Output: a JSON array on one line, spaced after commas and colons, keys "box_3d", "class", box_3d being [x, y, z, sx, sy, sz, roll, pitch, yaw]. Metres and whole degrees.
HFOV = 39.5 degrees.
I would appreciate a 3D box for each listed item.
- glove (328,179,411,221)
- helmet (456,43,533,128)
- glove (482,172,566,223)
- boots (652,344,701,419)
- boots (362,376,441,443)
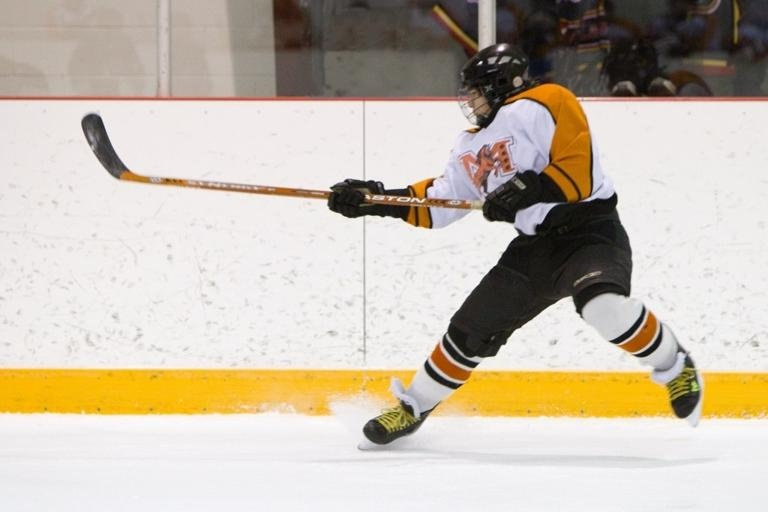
[{"box_3d": [-0.069, -0.252, 4.907, 0.324, 0.174, 0.102, 6, -20, -7], "class": "glove"}, {"box_3d": [0.499, -0.793, 4.894, 0.368, 0.338, 0.288, -12, 15, -5], "class": "helmet"}, {"box_3d": [0.584, -0.251, 4.593, 0.272, 0.232, 0.106, -30, -22, 1], "class": "glove"}, {"box_3d": [1.287, 0.547, 4.662, 0.143, 0.394, 0.161, 32, -54, -33], "class": "boots"}, {"box_3d": [0.070, 0.725, 4.914, 0.197, 0.207, 0.477, 30, 15, 27], "class": "boots"}]
